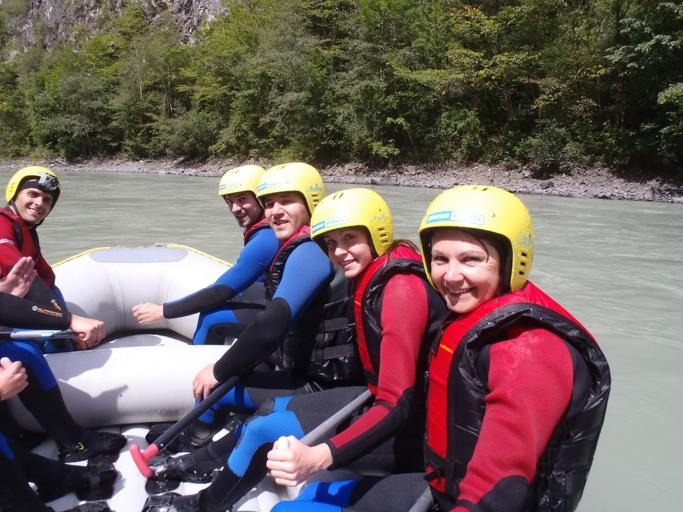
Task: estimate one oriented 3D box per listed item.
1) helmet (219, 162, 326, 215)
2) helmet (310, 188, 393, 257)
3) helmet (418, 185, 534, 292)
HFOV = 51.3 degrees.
[{"bbox_3d":[-0.457,-0.578,5.081,0.484,0.311,0.620,2,19,38],"label":"helmet"},{"bbox_3d":[0.116,-0.226,4.351,0.479,0.365,0.371,-27,18,-39],"label":"helmet"},{"bbox_3d":[0.775,-0.083,3.790,0.468,0.475,0.633,-8,-12,39],"label":"helmet"}]
